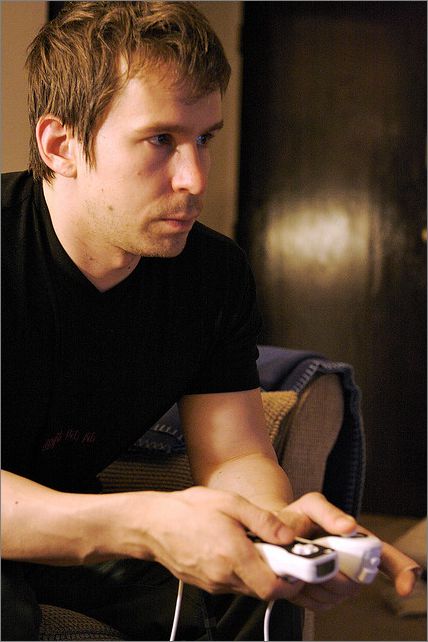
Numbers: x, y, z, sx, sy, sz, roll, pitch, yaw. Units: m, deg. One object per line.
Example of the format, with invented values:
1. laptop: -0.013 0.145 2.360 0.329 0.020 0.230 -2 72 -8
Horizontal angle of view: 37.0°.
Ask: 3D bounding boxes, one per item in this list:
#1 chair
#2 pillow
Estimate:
1. chair: 0.020 0.270 1.219 0.483 0.303 0.479 -2 -2 18
2. pillow: -0.079 0.254 1.207 0.206 0.082 0.275 -3 11 34
